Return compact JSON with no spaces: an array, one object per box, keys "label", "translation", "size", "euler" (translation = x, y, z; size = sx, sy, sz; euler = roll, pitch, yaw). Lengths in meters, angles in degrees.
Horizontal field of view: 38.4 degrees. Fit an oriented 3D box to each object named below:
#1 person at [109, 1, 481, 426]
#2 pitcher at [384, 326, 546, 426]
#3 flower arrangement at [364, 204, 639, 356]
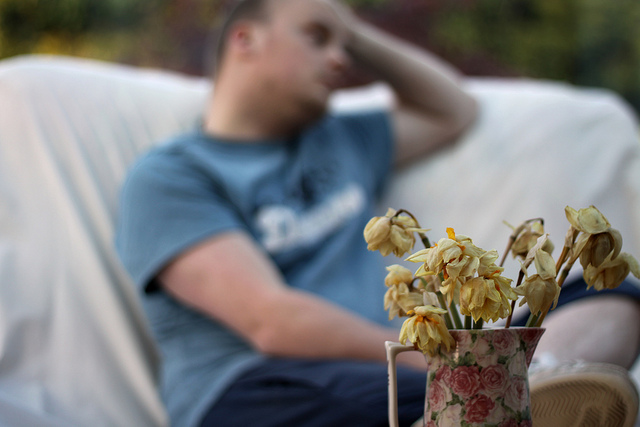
[{"label":"person","translation":[0.039,0.079,2.837],"size":[0.974,0.891,1.562],"euler":[-8,81,37]},{"label":"pitcher","translation":[0.349,0.359,2.022],"size":[0.288,0.213,0.264],"euler":[0,77,-2]},{"label":"flower arrangement","translation":[0.409,0.147,2.108],"size":[0.380,0.432,0.285],"euler":[-6,83,11]}]
